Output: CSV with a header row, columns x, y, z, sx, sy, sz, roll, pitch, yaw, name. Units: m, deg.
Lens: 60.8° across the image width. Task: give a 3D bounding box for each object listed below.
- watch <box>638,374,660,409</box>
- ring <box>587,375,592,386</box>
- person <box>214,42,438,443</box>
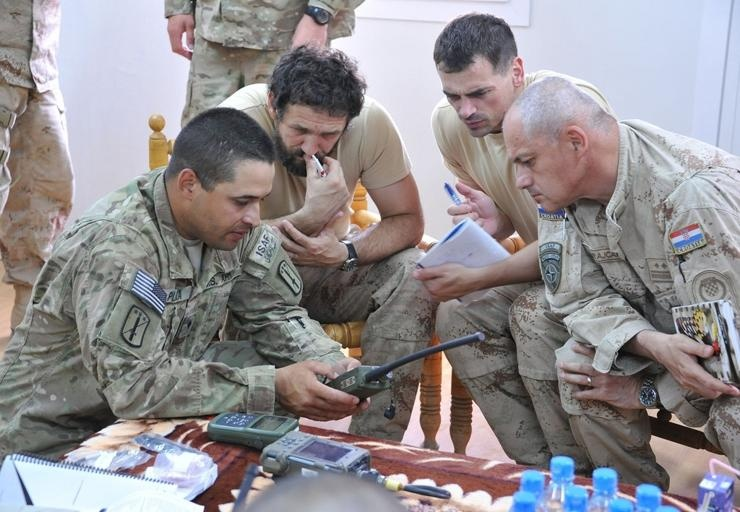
x,y,z,sx,sy,sz,roll,pitch,yaw,name
0.899,0.442,2.038,0.057,0.098,0.092,-6,-4,36,watch
0.719,0.407,2.074,0.005,0.020,0.019,5,-17,-15,ring
-0.228,-0.043,2.767,0.869,1.661,1.143,-3,20,-8,person
